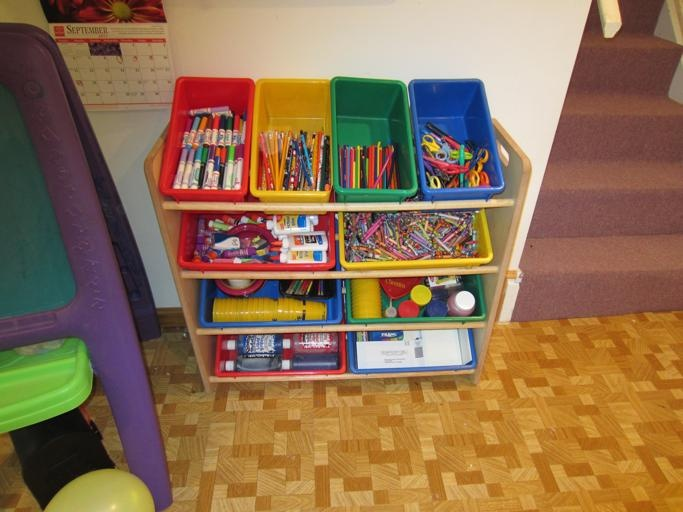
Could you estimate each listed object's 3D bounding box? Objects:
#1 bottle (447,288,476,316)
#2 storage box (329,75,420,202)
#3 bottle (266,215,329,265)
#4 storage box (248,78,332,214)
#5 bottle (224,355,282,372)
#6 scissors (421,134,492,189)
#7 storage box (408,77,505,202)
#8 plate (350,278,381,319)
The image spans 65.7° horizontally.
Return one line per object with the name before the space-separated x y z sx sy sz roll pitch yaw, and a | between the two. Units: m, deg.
bottle | 0.483 0.188 2.166 0.102 0.094 0.101 -35 82 -3
storage box | 0.120 -0.422 1.989 0.331 0.173 0.467 -2 89 -8
bottle | -0.167 -0.059 1.948 0.200 0.046 0.190 1 76 -3
storage box | -0.198 -0.409 1.979 0.319 0.164 0.457 -1 92 -8
bottle | -0.374 0.450 2.232 0.183 0.036 0.094 0 57 -5
scissors | 0.415 -0.351 1.966 0.225 0.064 0.216 0 73 -7
storage box | 0.433 -0.463 1.965 0.344 0.162 0.483 -5 83 -5
plate | 0.094 0.171 2.159 0.143 0.146 0.157 0 75 -1
